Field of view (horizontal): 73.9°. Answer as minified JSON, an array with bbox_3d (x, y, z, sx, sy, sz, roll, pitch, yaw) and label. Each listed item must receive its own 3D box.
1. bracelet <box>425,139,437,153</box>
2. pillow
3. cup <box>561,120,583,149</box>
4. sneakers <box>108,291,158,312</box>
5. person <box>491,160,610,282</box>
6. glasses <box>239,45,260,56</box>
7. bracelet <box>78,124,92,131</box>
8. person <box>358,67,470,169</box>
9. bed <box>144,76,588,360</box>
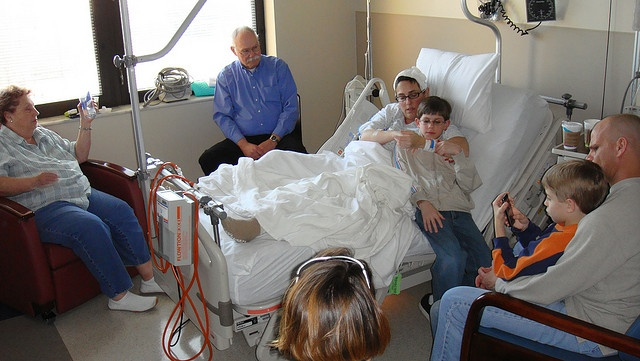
[{"bbox_3d":[0.820,-0.255,3.121,0.086,0.083,0.063,-11,26,-23],"label":"bracelet"},{"bbox_3d":[1.147,-0.763,3.451,0.738,0.684,0.226,7,-4,40],"label":"pillow"},{"bbox_3d":[1.924,-0.326,3.274,0.174,0.188,0.163,2,0,0],"label":"cup"},{"bbox_3d":[-1.457,0.948,3.393,0.394,0.150,0.143,-1,20,-4],"label":"sneakers"},{"bbox_3d":[1.374,0.312,2.626,0.679,0.852,0.614,7,18,40],"label":"person"},{"bbox_3d":[-0.687,-1.269,4.161,0.194,0.098,0.063,-13,17,-32],"label":"glasses"},{"bbox_3d":[-1.943,-0.433,3.495,0.092,0.029,0.089,7,13,28],"label":"bracelet"},{"bbox_3d":[0.777,-0.282,3.490,0.870,1.199,0.657,-7,15,3],"label":"person"},{"bbox_3d":[0.317,0.396,3.710,2.829,1.618,1.699,-20,42,-18],"label":"bed"}]
